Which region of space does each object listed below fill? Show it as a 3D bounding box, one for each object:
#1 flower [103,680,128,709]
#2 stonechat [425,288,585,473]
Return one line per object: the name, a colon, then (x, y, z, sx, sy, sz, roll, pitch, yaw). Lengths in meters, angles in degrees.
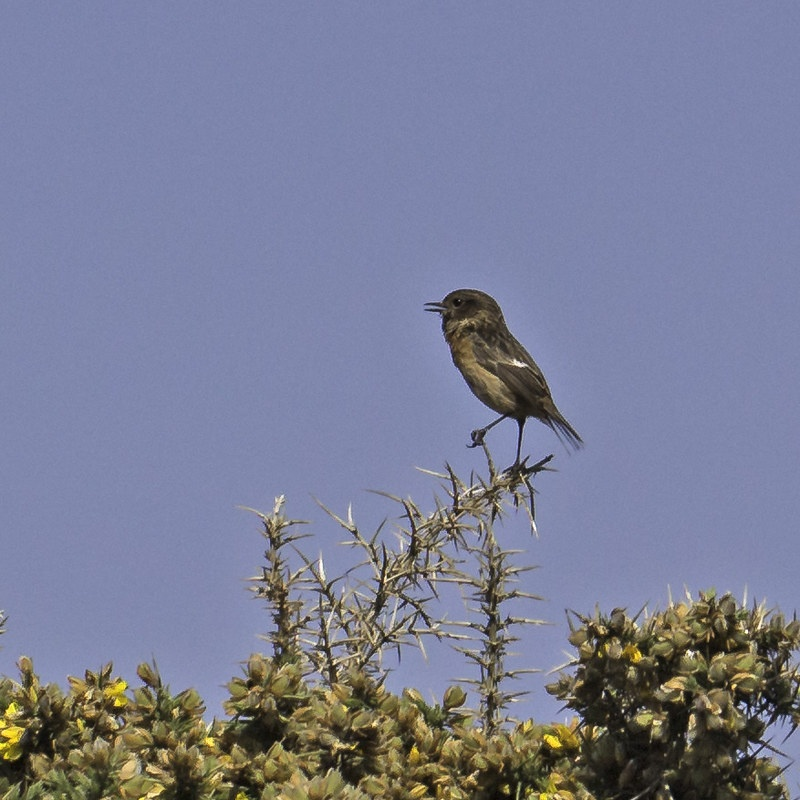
flower: (-1.031, 1.086, 6.704, 0.098, 0.112, 0.061, -11, -45, 9)
stonechat: (0.613, -0.085, 10.786, 0.888, 1.274, 0.454, -2, -25, 4)
